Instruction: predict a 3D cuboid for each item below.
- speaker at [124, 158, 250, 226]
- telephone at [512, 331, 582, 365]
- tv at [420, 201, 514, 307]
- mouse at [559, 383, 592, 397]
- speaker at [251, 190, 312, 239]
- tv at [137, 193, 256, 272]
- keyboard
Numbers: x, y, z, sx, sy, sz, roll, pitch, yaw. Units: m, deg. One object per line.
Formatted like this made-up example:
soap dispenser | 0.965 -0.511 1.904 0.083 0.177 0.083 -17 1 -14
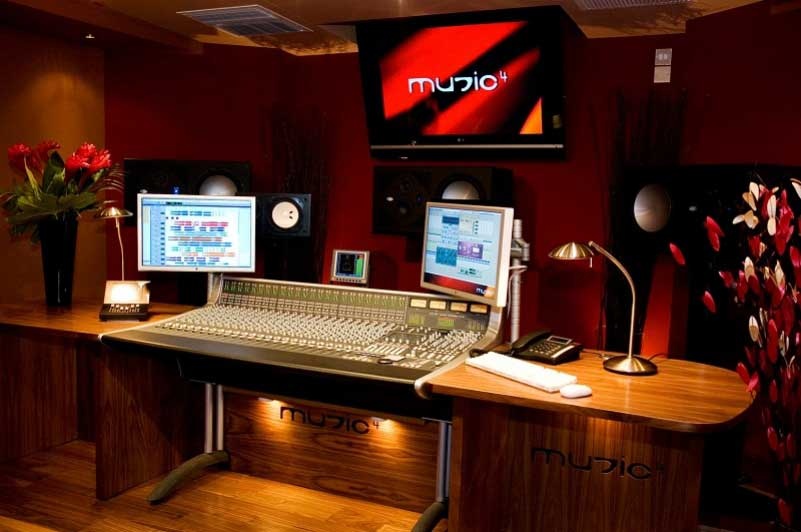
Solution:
speaker | -1.472 -0.491 4.447 0.987 0.500 0.278 -2 1 7
telephone | 0.711 0.398 3.051 0.258 0.105 0.316 -5 6 -31
tv | 0.289 -0.076 3.240 0.611 0.474 0.079 8 -5 -44
mouse | 0.751 0.528 2.636 0.147 0.046 0.069 0 6 -8
speaker | -0.715 -0.315 3.959 0.399 0.296 0.227 -1 -1 8
tv | -1.199 -0.196 3.635 0.488 0.304 0.050 1 5 -3
keyboard | 0.546 0.466 2.789 0.145 0.025 0.322 -14 19 -41
